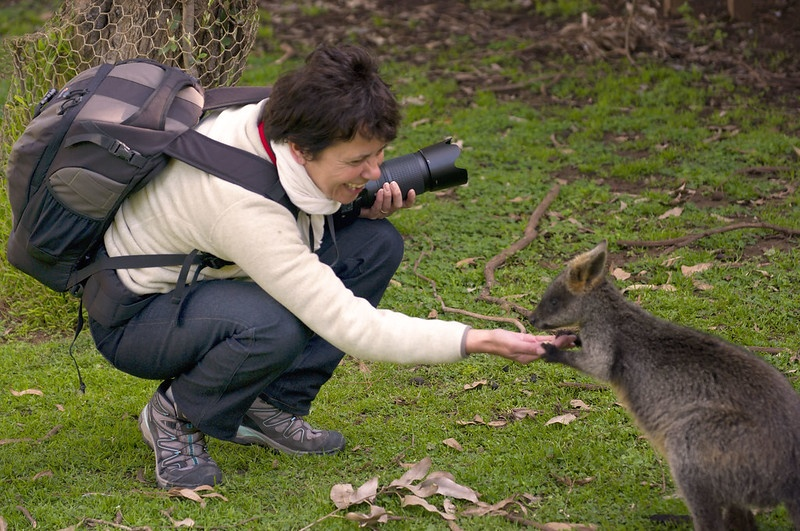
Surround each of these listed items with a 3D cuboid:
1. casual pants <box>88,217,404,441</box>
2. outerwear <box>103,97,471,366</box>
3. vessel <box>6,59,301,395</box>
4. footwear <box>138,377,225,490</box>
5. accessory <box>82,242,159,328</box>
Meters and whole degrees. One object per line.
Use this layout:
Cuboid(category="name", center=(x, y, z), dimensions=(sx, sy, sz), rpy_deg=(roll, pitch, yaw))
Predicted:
Cuboid(category="casual pants", center=(-1.037, 0.408, 4.997), dimensions=(1.612, 0.959, 1.473), rpy_deg=(22, 19, 4))
Cuboid(category="outerwear", center=(-0.643, -0.071, 4.639), dimensions=(2.102, 1.033, 1.433), rpy_deg=(16, 29, -10))
Cuboid(category="vessel", center=(-1.418, -0.491, 5.016), dimensions=(1.991, 1.623, 1.406), rpy_deg=(19, 35, -20))
Cuboid(category="footwear", center=(-1.466, 1.137, 4.801), dimensions=(0.329, 0.370, 0.817), rpy_deg=(-15, 53, -47))
Cuboid(category="accessory", center=(-1.819, 0.161, 4.628), dimensions=(0.396, 0.538, 0.232), rpy_deg=(35, 30, -50))
